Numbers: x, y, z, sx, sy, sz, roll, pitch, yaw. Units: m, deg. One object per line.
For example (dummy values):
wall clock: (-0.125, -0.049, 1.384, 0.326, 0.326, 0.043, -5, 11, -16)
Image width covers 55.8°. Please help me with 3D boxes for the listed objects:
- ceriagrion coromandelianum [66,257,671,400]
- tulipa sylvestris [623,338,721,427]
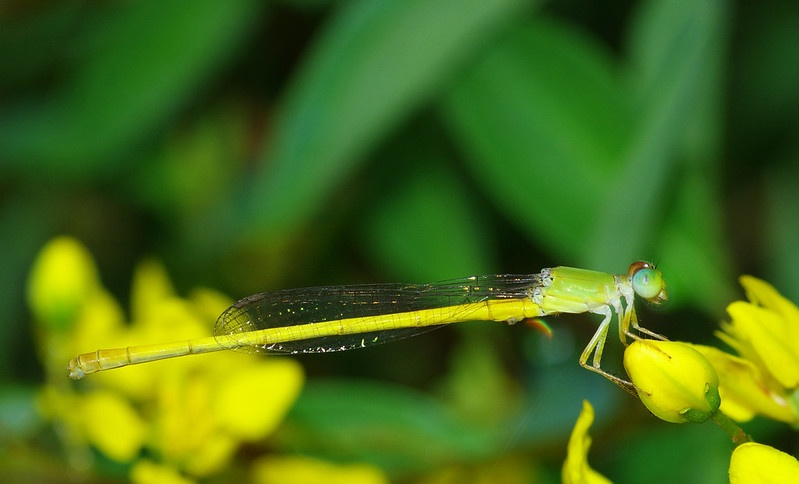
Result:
ceriagrion coromandelianum: (0.005, 0.182, 1.353, 1.165, 0.245, 0.258, -7, -25, -10)
tulipa sylvestris: (0.427, 0.215, 1.177, 0.125, 0.133, 0.068, -17, -31, 17)
